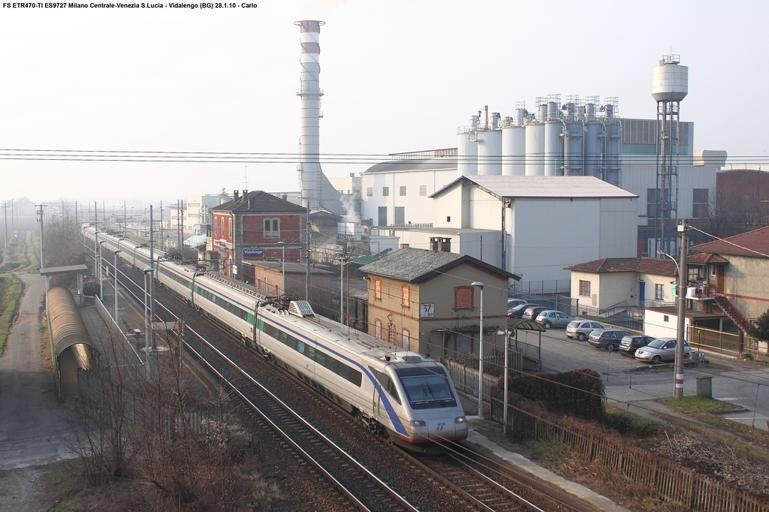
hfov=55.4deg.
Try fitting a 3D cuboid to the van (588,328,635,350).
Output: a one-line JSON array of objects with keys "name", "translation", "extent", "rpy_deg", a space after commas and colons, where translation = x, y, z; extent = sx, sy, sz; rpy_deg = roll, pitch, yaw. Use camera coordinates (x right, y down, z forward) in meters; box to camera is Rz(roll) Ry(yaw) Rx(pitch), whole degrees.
[{"name": "van", "translation": [16.081, 5.809, 51.224], "extent": [2.821, 0.971, 1.289], "rpy_deg": [-5, 7, -24]}]

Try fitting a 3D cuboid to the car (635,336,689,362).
[{"name": "car", "translation": [18.089, 6.040, 47.738], "extent": [2.992, 1.310, 1.571], "rpy_deg": [2, -1, -12]}]

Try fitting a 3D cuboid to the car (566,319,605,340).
[{"name": "car", "translation": [14.723, 5.539, 53.907], "extent": [2.207, 1.068, 1.353], "rpy_deg": [-7, 8, -22]}]

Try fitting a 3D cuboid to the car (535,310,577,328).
[{"name": "car", "translation": [13.116, 4.844, 56.360], "extent": [2.195, 0.948, 1.279], "rpy_deg": [-5, 11, -16]}]

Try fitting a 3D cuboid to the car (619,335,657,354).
[{"name": "car", "translation": [17.110, 5.994, 49.351], "extent": [1.903, 0.816, 1.094], "rpy_deg": [-9, 10, -21]}]
